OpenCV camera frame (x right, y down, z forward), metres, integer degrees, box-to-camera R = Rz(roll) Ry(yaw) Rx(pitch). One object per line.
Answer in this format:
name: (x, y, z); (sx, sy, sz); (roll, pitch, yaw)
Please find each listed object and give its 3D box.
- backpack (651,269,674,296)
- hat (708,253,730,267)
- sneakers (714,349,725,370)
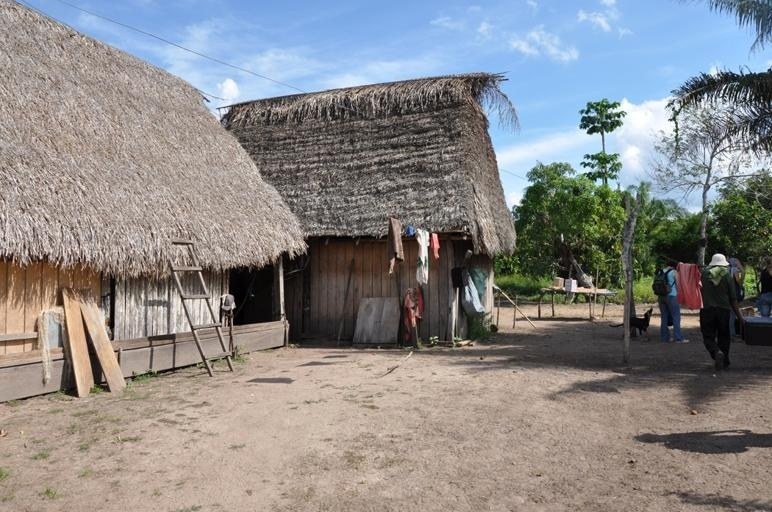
backpack: (6.128, 0.583, 13.458); (0.644, 0.637, 0.434); (6, -10, -34)
hat: (6.183, 0.083, 11.282); (0.302, 0.184, 0.356); (2, -1, 30)
sneakers: (5.976, 1.835, 10.781); (0.159, 0.351, 0.237); (-1, -6, 6)
